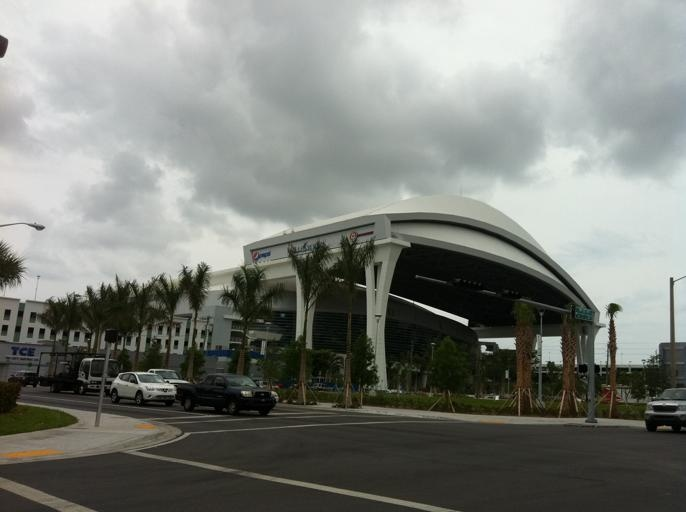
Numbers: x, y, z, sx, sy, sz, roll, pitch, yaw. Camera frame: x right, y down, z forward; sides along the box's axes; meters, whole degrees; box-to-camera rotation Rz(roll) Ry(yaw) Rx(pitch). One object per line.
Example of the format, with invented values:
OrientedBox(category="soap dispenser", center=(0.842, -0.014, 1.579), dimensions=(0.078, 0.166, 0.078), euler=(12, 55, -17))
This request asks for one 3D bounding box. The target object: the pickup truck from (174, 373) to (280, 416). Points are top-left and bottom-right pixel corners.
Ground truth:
OrientedBox(category="pickup truck", center=(-6.096, 7.175, 26.429), dimensions=(4.758, 1.779, 2.284), euler=(-12, -19, 39))

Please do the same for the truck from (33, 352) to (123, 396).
OrientedBox(category="truck", center=(-21.001, 9.034, 39.596), dimensions=(8.097, 3.256, 1.411), euler=(-7, -19, 31))

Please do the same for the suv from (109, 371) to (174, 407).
OrientedBox(category="suv", center=(-11.962, 7.909, 30.344), dimensions=(3.832, 1.597, 2.027), euler=(-16, -23, 41))
